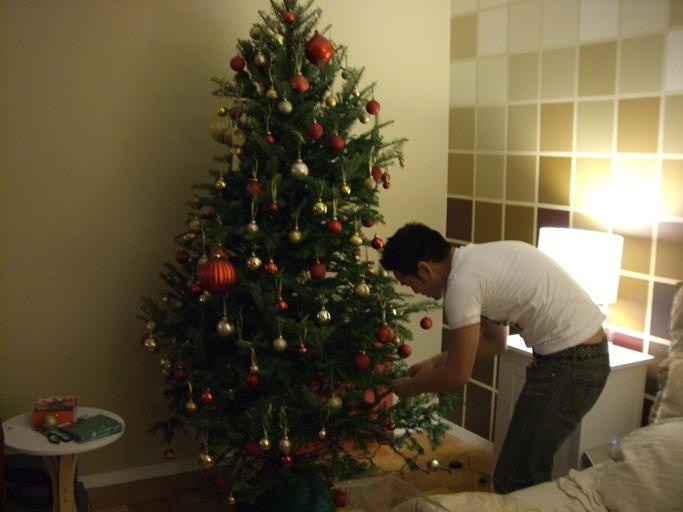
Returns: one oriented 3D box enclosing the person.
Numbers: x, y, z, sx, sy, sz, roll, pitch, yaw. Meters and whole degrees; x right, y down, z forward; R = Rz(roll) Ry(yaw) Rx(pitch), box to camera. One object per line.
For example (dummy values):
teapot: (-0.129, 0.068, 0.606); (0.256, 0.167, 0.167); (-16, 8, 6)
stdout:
person: (0.782, 0.362, 3.304); (1.297, 1.982, 0.802); (-1, 3, 11)

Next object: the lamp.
lamp: (1.304, 0.057, 3.225); (0.411, 0.532, 0.409); (-1, 3, -39)
